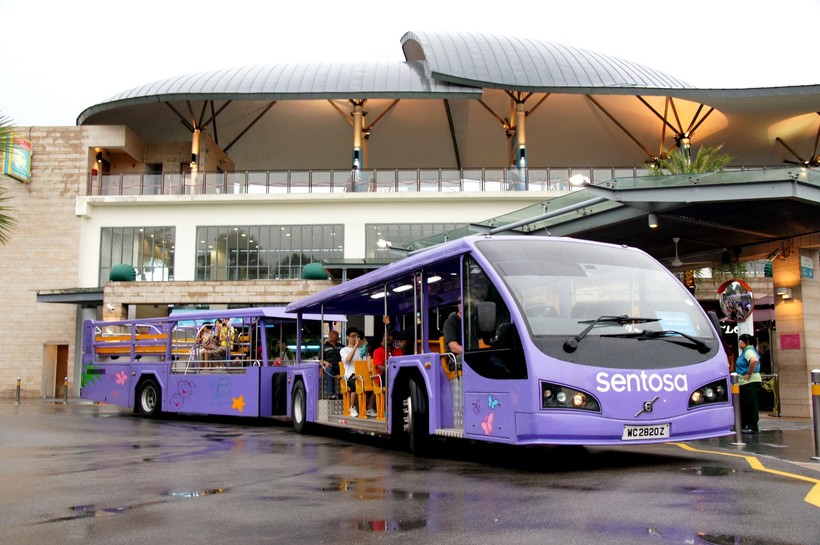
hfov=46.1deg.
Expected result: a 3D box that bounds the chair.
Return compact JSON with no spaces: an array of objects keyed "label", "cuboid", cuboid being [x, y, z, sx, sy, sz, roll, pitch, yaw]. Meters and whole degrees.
[{"label":"chair","cuboid":[-0.290,2.664,24.462,1.742,1.393,3.133,5,-8,-35]}]

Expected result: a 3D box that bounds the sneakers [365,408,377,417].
[{"label":"sneakers","cuboid":[-0.990,3.603,24.756,0.131,0.138,0.307,3,-11,-29]}]

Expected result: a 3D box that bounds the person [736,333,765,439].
[{"label":"person","cuboid":[9.087,2.961,25.899,0.571,2.612,0.707,-4,-6,19]}]

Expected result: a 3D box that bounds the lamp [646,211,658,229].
[{"label":"lamp","cuboid":[7.259,-1.549,28.745,0.372,0.430,0.375,2,-8,-22]}]

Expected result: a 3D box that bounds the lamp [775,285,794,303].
[{"label":"lamp","cuboid":[12.115,0.719,31.280,0.499,0.392,0.377,-2,-5,44]}]

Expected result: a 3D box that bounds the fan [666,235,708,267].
[{"label":"fan","cuboid":[9.427,-0.790,32.907,0.871,0.780,0.291,0,-10,2]}]
